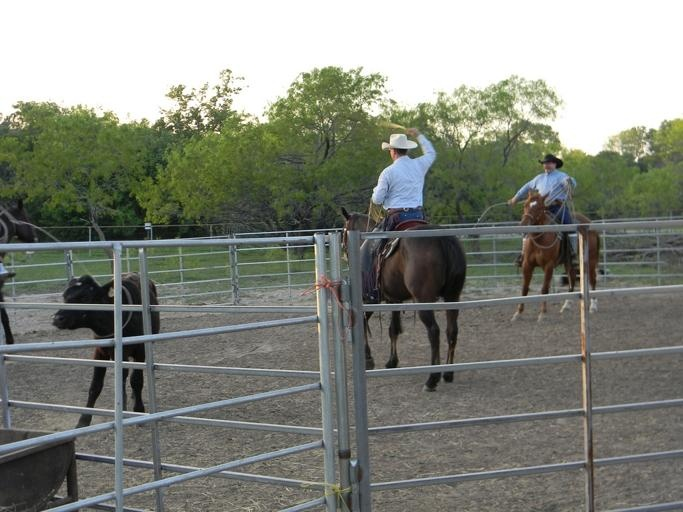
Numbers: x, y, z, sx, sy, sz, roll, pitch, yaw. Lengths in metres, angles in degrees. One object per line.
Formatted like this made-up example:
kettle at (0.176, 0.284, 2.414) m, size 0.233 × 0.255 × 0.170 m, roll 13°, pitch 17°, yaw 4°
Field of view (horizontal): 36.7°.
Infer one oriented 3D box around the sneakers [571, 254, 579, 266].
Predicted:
sneakers at (3.782, 0.067, 16.730) m, size 0.133 × 0.201 × 0.206 m, roll -4°, pitch -4°, yaw 9°

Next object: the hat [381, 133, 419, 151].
hat at (0.802, -1.617, 14.683) m, size 0.380 × 0.166 × 0.443 m, roll -1°, pitch -1°, yaw -5°

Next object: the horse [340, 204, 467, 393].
horse at (0.888, 0.613, 13.886) m, size 1.023 × 2.083 × 1.994 m, roll -2°, pitch 6°, yaw -22°

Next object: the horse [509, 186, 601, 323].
horse at (3.467, -0.028, 16.629) m, size 1.310 × 2.036 × 1.712 m, roll 1°, pitch 5°, yaw 13°

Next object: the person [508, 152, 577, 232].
person at (3.456, -0.895, 17.105) m, size 1.081 × 1.624 × 0.723 m, roll -6°, pitch -13°, yaw 39°

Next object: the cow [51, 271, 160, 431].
cow at (-2.876, 1.188, 12.983) m, size 0.761 × 1.898 × 2.735 m, roll -4°, pitch -3°, yaw 9°
